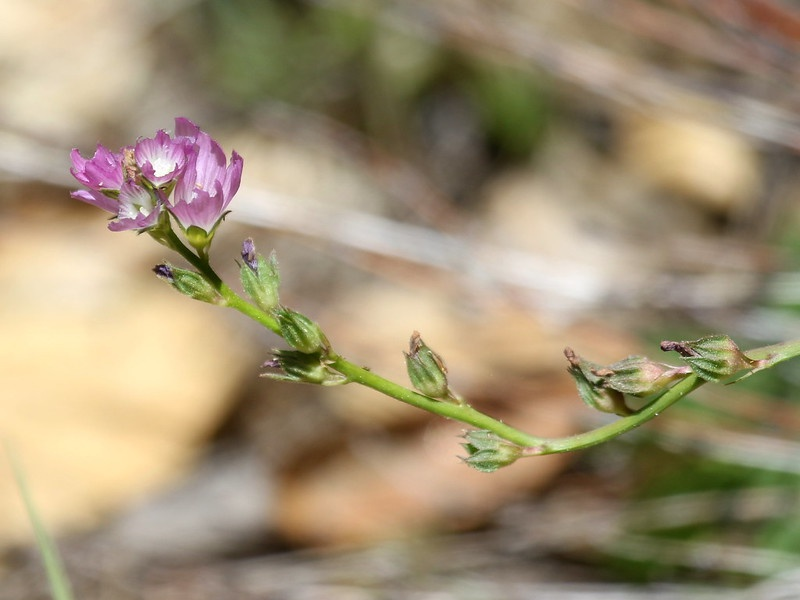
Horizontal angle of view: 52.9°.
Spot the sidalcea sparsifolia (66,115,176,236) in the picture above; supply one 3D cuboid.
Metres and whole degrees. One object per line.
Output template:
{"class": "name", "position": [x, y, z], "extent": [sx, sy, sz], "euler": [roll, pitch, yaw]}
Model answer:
{"class": "sidalcea sparsifolia", "position": [-0.494, -0.229, 1.496], "extent": [0.153, 0.148, 0.174], "euler": [36, 50, 22]}
